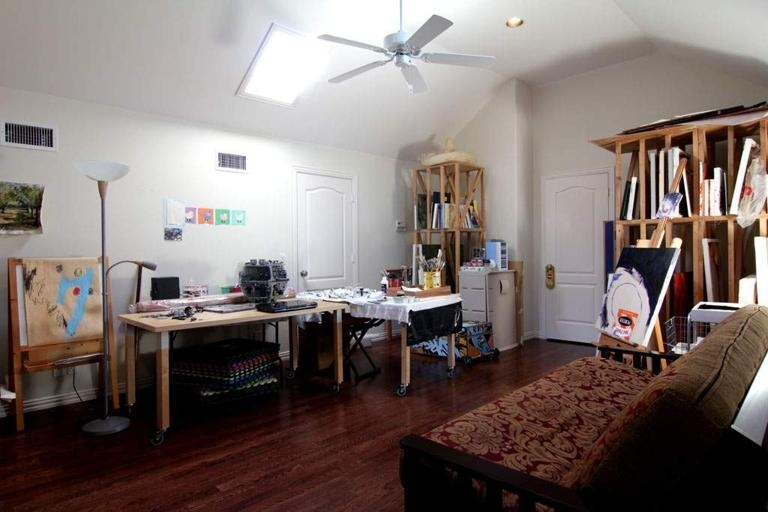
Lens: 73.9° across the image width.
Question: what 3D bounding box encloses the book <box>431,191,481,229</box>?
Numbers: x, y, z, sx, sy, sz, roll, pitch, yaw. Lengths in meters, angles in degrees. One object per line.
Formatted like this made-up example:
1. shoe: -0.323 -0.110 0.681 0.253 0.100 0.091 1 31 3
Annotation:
1. book: 1.027 -0.638 7.218 0.686 0.454 0.704 2 14 10

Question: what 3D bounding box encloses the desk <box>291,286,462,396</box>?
1. desk: -0.041 0.799 5.691 1.327 0.771 1.131 -3 -2 37

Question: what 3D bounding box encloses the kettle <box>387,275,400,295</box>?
1. kettle: 0.109 0.317 5.527 0.147 0.149 0.253 2 19 1

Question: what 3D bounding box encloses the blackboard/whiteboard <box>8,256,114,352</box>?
1. blackboard/whiteboard: -3.106 0.470 4.852 0.876 1.215 0.084 1 -9 -38
